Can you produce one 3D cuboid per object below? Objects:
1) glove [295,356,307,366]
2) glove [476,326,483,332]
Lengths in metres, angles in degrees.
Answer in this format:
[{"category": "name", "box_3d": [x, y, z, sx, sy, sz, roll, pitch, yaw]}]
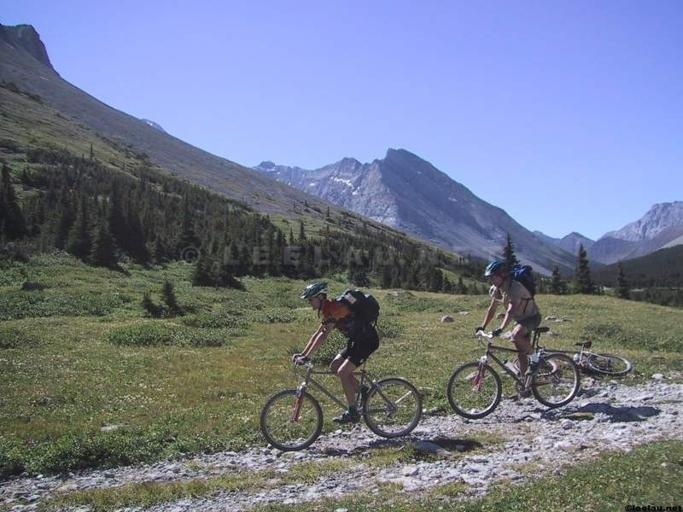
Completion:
[{"category": "glove", "box_3d": [-1.287, 3.466, 17.272, 0.228, 0.297, 0.306, -4, 24, -12]}, {"category": "glove", "box_3d": [4.892, 2.599, 18.701, 0.180, 0.195, 0.338, -4, -15, 13]}]
